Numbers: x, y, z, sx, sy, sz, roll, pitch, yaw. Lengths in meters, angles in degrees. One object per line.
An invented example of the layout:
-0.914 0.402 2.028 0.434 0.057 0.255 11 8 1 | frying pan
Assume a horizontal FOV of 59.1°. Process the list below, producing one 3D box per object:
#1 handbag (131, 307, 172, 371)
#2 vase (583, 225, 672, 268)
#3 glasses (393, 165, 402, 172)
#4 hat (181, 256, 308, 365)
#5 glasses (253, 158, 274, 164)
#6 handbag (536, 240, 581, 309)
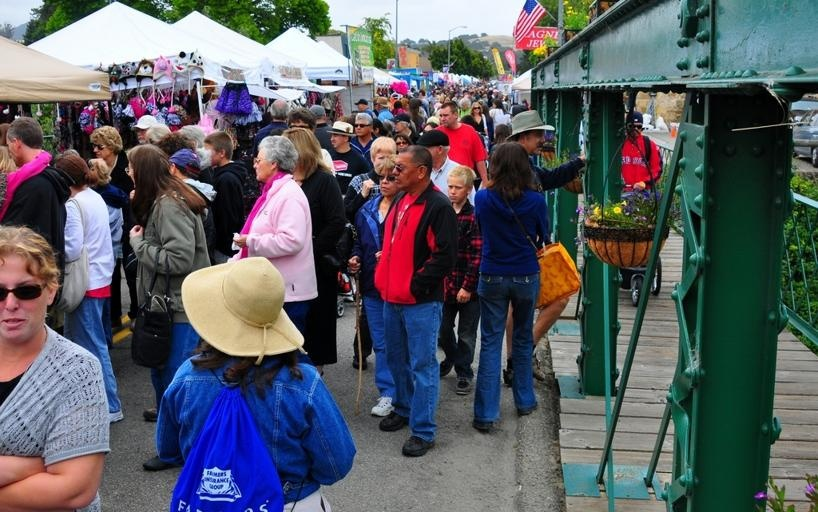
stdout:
-2.168 0.709 6.218 0.341 0.527 0.284 11 3 -20 | handbag
1.552 -0.073 5.358 0.392 0.239 0.401 5 2 -17 | vase
-0.082 -0.746 6.188 0.064 0.069 0.024 2 11 42 | glasses
-0.883 0.266 3.826 0.658 0.522 0.340 4 7 6 | hat
-1.309 -0.872 6.605 0.133 0.041 0.132 5 7 -1 | glasses
1.484 0.238 7.220 0.264 0.475 0.477 -14 -19 -44 | handbag
